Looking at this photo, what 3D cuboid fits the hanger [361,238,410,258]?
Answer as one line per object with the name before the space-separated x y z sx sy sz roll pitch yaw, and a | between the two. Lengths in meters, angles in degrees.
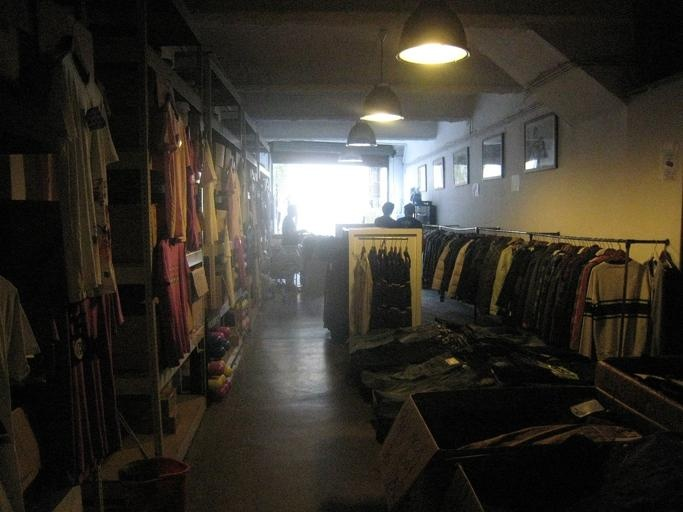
hanger | 0.497 -0.096 5.556 0.596 0.319 0.187 -1 6 2
